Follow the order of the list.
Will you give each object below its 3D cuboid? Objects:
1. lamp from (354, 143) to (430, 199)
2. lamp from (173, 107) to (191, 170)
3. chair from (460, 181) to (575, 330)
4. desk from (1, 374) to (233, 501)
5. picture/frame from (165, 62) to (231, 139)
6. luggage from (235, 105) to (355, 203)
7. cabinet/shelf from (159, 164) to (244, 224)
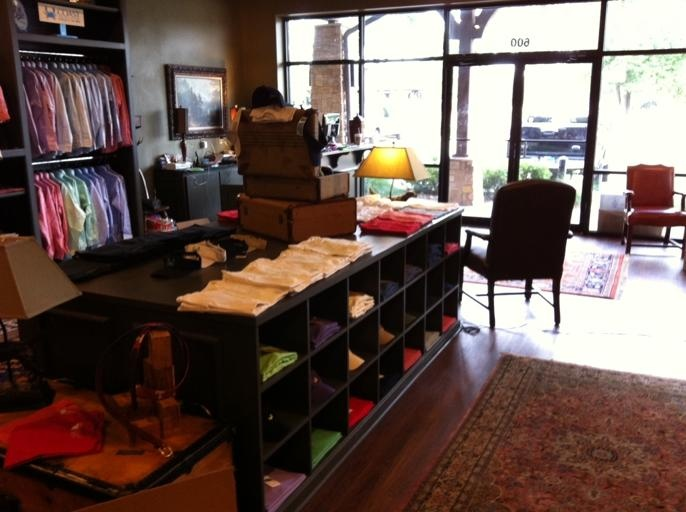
[{"bbox_3d":[0.396,-0.674,4.271,0.383,0.558,0.373,8,17,23],"label":"lamp"},{"bbox_3d":[-2.095,-1.610,7.054,0.161,0.671,0.268,5,18,14],"label":"lamp"},{"bbox_3d":[1.423,-0.031,4.382,0.813,1.254,0.491,6,18,17],"label":"chair"},{"bbox_3d":[-0.784,0.711,2.035,0.573,0.246,0.537,10,20,26],"label":"desk"},{"bbox_3d":[-1.988,-2.136,7.394,0.372,0.953,1.254,4,18,12],"label":"picture/frame"},{"bbox_3d":[-0.318,-0.688,3.491,0.617,0.587,0.545,7,14,21],"label":"luggage"},{"bbox_3d":[-1.721,-0.730,6.293,0.271,0.661,0.764,8,22,26],"label":"cabinet/shelf"}]
